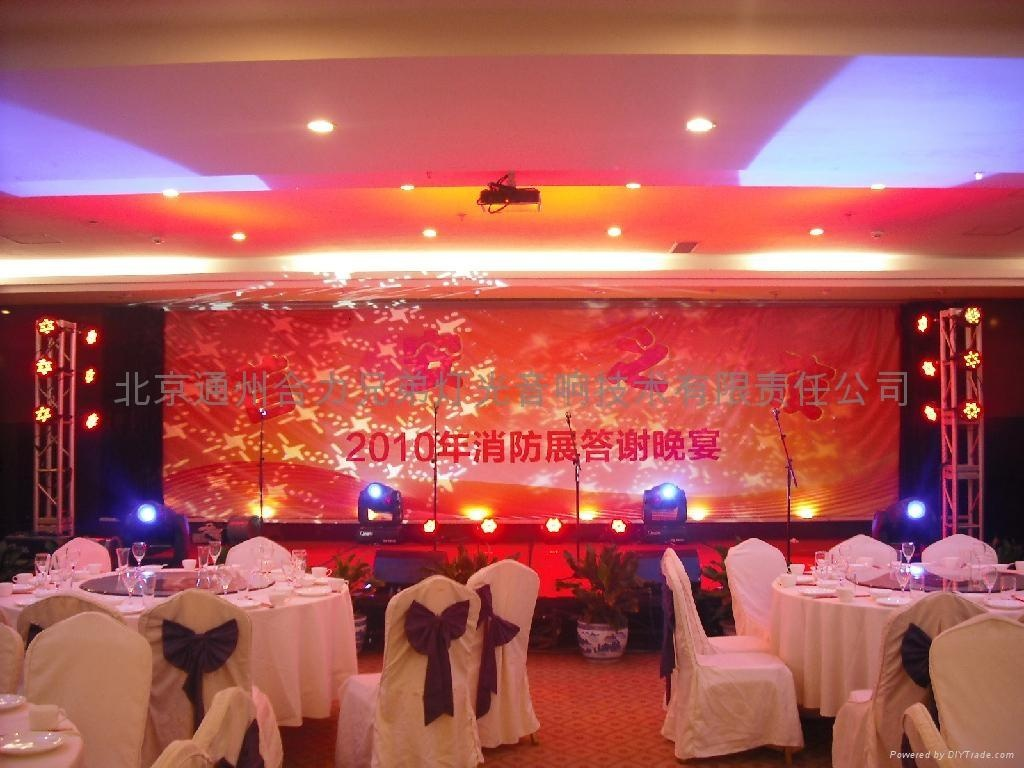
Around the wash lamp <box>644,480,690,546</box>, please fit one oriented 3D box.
[{"bbox_3d":[1.656,1.451,9.744,0.467,0.628,0.179,-2,-3,3],"label":"wash lamp"}]

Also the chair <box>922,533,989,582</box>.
[{"bbox_3d":[3.236,1.270,6.367,0.361,0.337,0.347,-5,-7,20],"label":"chair"}]

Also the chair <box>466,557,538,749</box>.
[{"bbox_3d":[-0.071,1.657,5.335,0.324,1.171,0.663,-4,-4,38],"label":"chair"}]

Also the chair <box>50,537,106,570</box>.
[{"bbox_3d":[-3.189,1.266,6.453,0.277,0.120,0.312,6,-13,-4],"label":"chair"}]

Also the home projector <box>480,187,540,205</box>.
[{"bbox_3d":[-0.043,-1.389,6.553,0.256,0.090,0.243,0,1,0],"label":"home projector"}]

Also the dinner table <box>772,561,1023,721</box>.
[{"bbox_3d":[1.980,1.585,5.376,1.125,0.538,1.123,0,-10,3],"label":"dinner table"}]

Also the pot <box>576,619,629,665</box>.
[{"bbox_3d":[0.705,2.096,7.106,0.334,0.198,0.308,3,-13,1],"label":"pot"}]

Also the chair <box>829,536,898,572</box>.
[{"bbox_3d":[2.641,1.281,6.676,0.385,0.266,0.307,-2,-4,-3],"label":"chair"}]

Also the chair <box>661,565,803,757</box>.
[{"bbox_3d":[1.544,1.759,5.941,1.042,1.340,1.009,-4,-4,1],"label":"chair"}]

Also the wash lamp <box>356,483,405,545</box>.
[{"bbox_3d":[-1.483,1.484,9.949,0.560,0.719,0.615,1,-9,-3],"label":"wash lamp"}]
